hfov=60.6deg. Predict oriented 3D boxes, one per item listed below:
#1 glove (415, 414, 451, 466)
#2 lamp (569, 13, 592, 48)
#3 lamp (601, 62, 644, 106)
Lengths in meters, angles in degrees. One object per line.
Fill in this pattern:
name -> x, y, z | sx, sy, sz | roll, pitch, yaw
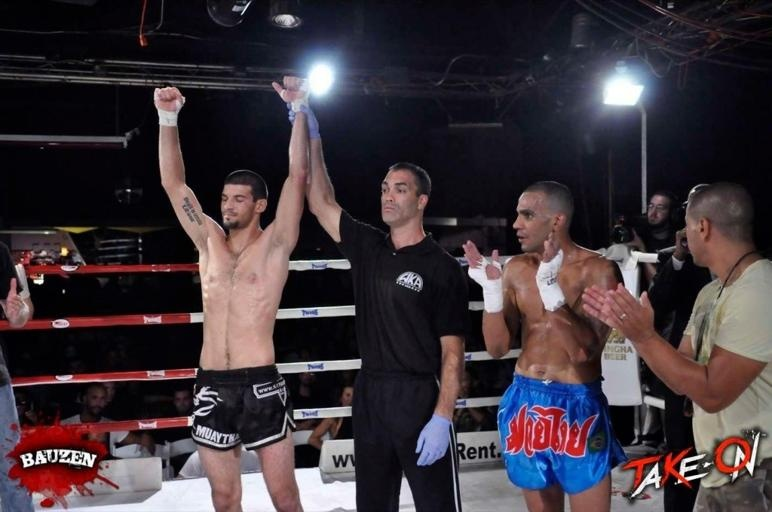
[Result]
glove -> 0.329, 1.320, 4.737 | 0.227, 0.362, 0.212 | 31, -22, -24
lamp -> 2.309, -2.670, 7.815 | 0.256, 0.390, 0.110 | -10, -10, 18
lamp -> 2.939, -2.127, 8.213 | 0.452, 0.445, 0.299 | 19, 29, 3
